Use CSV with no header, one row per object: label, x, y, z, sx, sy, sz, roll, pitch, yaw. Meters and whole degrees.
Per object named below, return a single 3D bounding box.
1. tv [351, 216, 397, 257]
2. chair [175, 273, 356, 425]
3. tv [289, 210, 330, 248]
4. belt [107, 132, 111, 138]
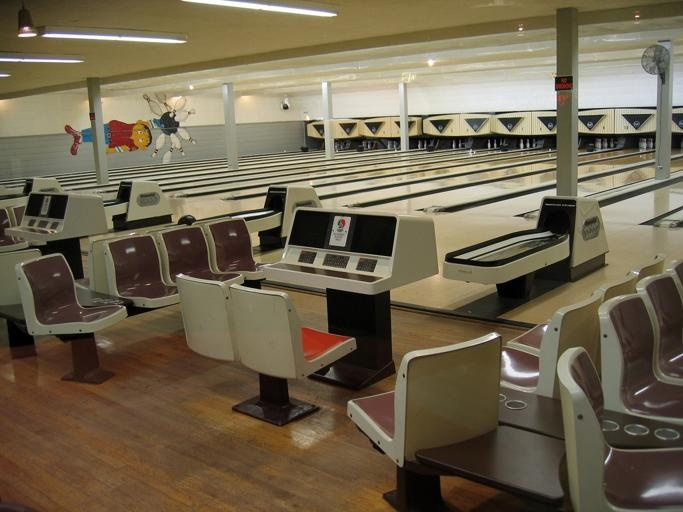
tv,0.175,-0.104,2.494,0.235,0.217,0.054,10,4,34
chair,-0.420,0.322,2.462,0.984,0.867,0.729,8,13,38
tv,-0.191,-0.157,2.744,0.242,0.222,0.057,10,-1,35
belt,-9.304,-4.835,18.123,0.173,0.234,0.063,-11,15,-29
